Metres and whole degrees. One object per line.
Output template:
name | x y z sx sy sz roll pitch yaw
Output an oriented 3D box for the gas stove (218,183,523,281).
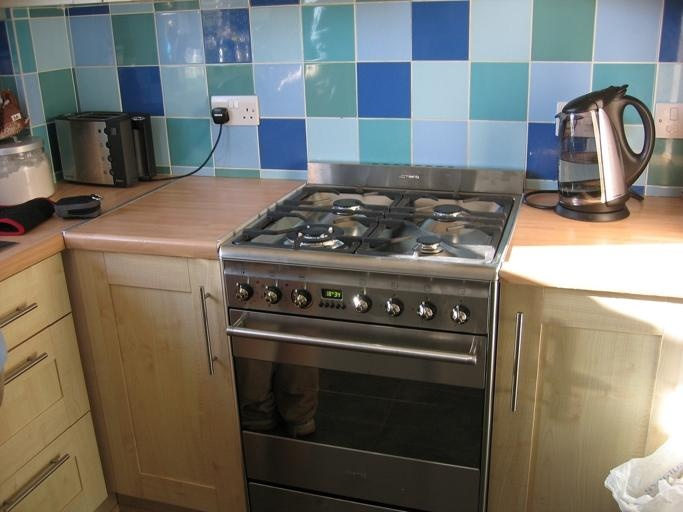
gas stove | 0.095 -0.233 1.952 1.097 0.267 1.014 4 22 14
